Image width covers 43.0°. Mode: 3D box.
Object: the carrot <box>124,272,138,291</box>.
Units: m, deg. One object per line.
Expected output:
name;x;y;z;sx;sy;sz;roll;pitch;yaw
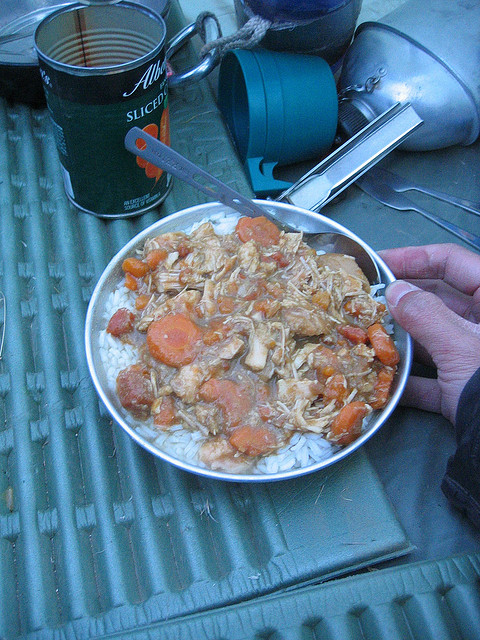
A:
carrot;-0.187;-0.061;1.005;0.024;0.008;0.026;1;102;-8

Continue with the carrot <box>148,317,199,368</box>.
carrot;-0.101;0.035;0.919;0.075;0.039;0.071;0;49;-8

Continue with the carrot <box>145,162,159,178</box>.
carrot;-0.159;-0.263;1.080;0.032;0.031;0.006;-7;39;-22

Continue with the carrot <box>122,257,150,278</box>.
carrot;-0.172;-0.084;1.002;0.040;0.014;0.028;28;68;0

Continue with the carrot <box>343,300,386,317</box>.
carrot;0.201;-0.014;0.989;0.065;0.021;0.024;9;49;0

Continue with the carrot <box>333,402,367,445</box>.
carrot;0.155;0.149;0.872;0.040;0.062;0.029;27;16;-2

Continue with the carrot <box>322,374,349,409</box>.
carrot;0.140;0.106;0.883;0.035;0.012;0.044;6;87;-11

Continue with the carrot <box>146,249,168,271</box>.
carrot;-0.142;-0.100;1.019;0.023;0.028;0.038;39;55;22

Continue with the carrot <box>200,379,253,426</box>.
carrot;-0.023;0.119;0.864;0.071;0.021;0.061;-6;78;3

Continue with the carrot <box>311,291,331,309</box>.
carrot;0.128;-0.030;0.960;0.030;0.023;0.021;19;50;8

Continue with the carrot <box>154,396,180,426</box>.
carrot;-0.098;0.135;0.876;0.045;0.012;0.037;3;82;-11

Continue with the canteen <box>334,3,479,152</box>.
canteen;0.401;-0.539;1.377;0.332;0.299;0.280;9;50;-1

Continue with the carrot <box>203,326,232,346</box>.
carrot;-0.035;0.027;0.941;0.041;0.013;0.020;-25;82;-20

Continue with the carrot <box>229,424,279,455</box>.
carrot;0.020;0.170;0.861;0.071;0.030;0.036;7;49;-2

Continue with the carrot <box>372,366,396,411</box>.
carrot;0.214;0.105;0.937;0.038;0.020;0.070;0;20;4

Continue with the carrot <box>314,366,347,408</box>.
carrot;0.131;0.101;0.872;0.047;0.020;0.051;-11;79;-2

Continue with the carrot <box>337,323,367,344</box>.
carrot;0.177;0.024;0.956;0.044;0.015;0.023;30;58;17

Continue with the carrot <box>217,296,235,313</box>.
carrot;-0.023;-0.022;0.965;0.027;0.008;0.032;2;48;-7

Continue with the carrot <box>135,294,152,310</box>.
carrot;-0.160;-0.028;0.997;0.022;0.011;0.030;13;48;3

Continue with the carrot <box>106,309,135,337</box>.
carrot;-0.189;0.008;0.962;0.038;0.013;0.043;14;73;-3

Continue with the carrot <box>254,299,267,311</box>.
carrot;0.033;-0.021;0.963;0.014;0.008;0.019;44;97;11

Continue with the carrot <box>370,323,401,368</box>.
carrot;0.219;0.041;0.940;0.044;0.023;0.067;-16;65;-4

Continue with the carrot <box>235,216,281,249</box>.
carrot;0.033;-0.150;1.048;0.069;0.015;0.059;24;75;4

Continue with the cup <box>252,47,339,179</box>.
cup;0.115;-0.436;1.374;0.238;0.278;0.174;-17;42;-22
